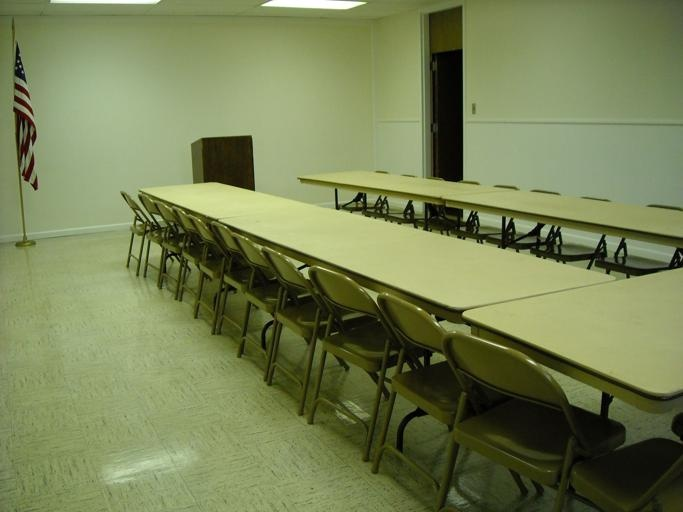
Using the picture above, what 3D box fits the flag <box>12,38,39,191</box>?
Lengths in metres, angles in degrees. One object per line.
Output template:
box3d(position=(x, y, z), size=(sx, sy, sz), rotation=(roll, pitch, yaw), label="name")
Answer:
box3d(position=(-4.518, -2.015, 7.931), size=(0.289, 2.119, 0.680), rotation=(-7, 18, -28), label="flag")
